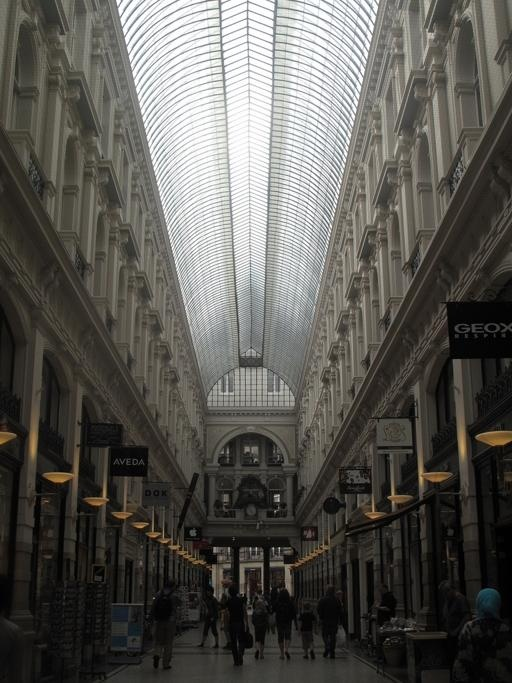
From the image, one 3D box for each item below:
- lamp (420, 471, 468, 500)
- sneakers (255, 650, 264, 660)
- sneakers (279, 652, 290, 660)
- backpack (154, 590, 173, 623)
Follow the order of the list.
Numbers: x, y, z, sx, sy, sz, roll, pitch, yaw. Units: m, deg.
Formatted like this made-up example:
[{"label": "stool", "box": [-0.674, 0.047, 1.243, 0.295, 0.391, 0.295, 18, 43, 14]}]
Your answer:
[{"label": "lamp", "box": [3.772, 2.895, 12.383, 0.495, 0.630, 0.916, -11, -18, 41]}, {"label": "sneakers", "box": [0.083, 8.932, 17.358, 0.148, 0.225, 0.545, 2, -37, 1]}, {"label": "sneakers", "box": [0.809, 8.847, 17.163, 0.148, 0.233, 0.522, 0, -22, -6]}, {"label": "backpack", "box": [-2.185, 6.154, 14.222, 0.428, 0.693, 0.472, 1, -24, -6]}]
